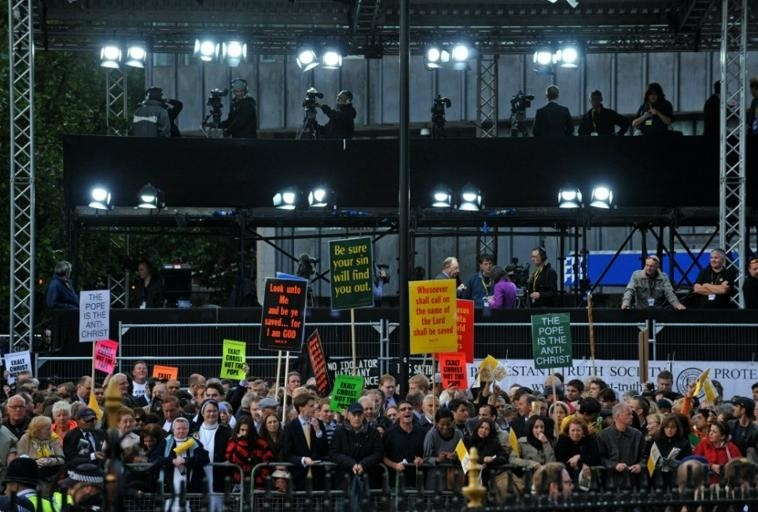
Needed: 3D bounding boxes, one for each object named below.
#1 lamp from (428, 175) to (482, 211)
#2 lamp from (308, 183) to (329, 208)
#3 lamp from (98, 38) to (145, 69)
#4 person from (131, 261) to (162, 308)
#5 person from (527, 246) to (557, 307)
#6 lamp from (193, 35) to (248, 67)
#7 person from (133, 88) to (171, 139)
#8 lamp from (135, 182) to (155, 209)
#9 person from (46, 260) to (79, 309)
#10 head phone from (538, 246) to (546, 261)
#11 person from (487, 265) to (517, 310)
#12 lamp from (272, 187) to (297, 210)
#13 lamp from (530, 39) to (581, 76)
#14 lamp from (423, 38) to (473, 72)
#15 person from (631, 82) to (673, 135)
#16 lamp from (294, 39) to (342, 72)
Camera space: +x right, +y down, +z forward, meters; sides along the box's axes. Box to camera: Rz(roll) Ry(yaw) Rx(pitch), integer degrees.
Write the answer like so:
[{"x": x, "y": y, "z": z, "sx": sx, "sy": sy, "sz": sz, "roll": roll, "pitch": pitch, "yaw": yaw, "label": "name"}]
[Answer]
[{"x": 2.094, "y": -1.531, "z": 61.009, "sx": 1.068, "sy": 0.700, "sz": 0.506, "roll": 0, "pitch": 10, "yaw": 2, "label": "lamp"}, {"x": -1.607, "y": -1.575, "z": 61.307, "sx": 0.511, "sy": 0.531, "sz": 0.269, "roll": 0, "pitch": -2, "yaw": -31, "label": "lamp"}, {"x": -7.052, "y": -5.470, "z": 63.186, "sx": 1.252, "sy": 0.626, "sz": 0.951, "roll": -1, "pitch": -2, "yaw": -8, "label": "lamp"}, {"x": -6.103, "y": 0.728, "z": 60.786, "sx": 0.741, "sy": 1.223, "sz": 0.976, "roll": -1, "pitch": -2, "yaw": -12, "label": "person"}, {"x": 4.259, "y": 0.540, "z": 59.607, "sx": 0.733, "sy": 1.549, "sz": 1.326, "roll": -1, "pitch": -2, "yaw": 3, "label": "person"}, {"x": -4.370, "y": -5.588, "z": 63.233, "sx": 1.501, "sy": 0.686, "sz": 0.431, "roll": -1, "pitch": -2, "yaw": -2, "label": "lamp"}, {"x": -6.173, "y": -3.843, "z": 61.753, "sx": 1.108, "sy": 1.359, "sz": 0.809, "roll": -1, "pitch": -2, "yaw": -8, "label": "person"}, {"x": -6.139, "y": -1.580, "z": 60.881, "sx": 0.604, "sy": 0.596, "sz": 0.566, "roll": 0, "pitch": -8, "yaw": -5, "label": "lamp"}, {"x": -8.249, "y": 0.757, "z": 59.567, "sx": 0.801, "sy": 1.272, "sz": 1.378, "roll": -1, "pitch": -2, "yaw": -8, "label": "person"}, {"x": 4.278, "y": -0.048, "z": 59.801, "sx": 0.134, "sy": 0.289, "sz": 0.314, "roll": -15, "pitch": 31, "yaw": 5, "label": "head phone"}, {"x": 3.154, "y": 0.791, "z": 58.830, "sx": 0.798, "sy": 1.008, "sz": 0.545, "roll": -1, "pitch": -2, "yaw": -12, "label": "person"}, {"x": -2.526, "y": -1.521, "z": 61.298, "sx": 0.672, "sy": 0.473, "sz": 0.250, "roll": -1, "pitch": -2, "yaw": 2, "label": "lamp"}, {"x": 4.957, "y": -5.564, "z": 64.298, "sx": 1.577, "sy": 0.821, "sz": 1.930, "roll": 0, "pitch": 4, "yaw": 10, "label": "lamp"}, {"x": 1.979, "y": -5.503, "z": 63.606, "sx": 1.357, "sy": 0.688, "sz": 0.531, "roll": -1, "pitch": -2, "yaw": 4, "label": "lamp"}, {"x": 7.413, "y": -3.908, "z": 61.420, "sx": 0.990, "sy": 1.508, "sz": 1.214, "roll": -1, "pitch": -2, "yaw": -10, "label": "person"}, {"x": -1.596, "y": -5.428, "z": 63.451, "sx": 1.062, "sy": 0.632, "sz": 0.428, "roll": 7, "pitch": -1, "yaw": 5, "label": "lamp"}]
